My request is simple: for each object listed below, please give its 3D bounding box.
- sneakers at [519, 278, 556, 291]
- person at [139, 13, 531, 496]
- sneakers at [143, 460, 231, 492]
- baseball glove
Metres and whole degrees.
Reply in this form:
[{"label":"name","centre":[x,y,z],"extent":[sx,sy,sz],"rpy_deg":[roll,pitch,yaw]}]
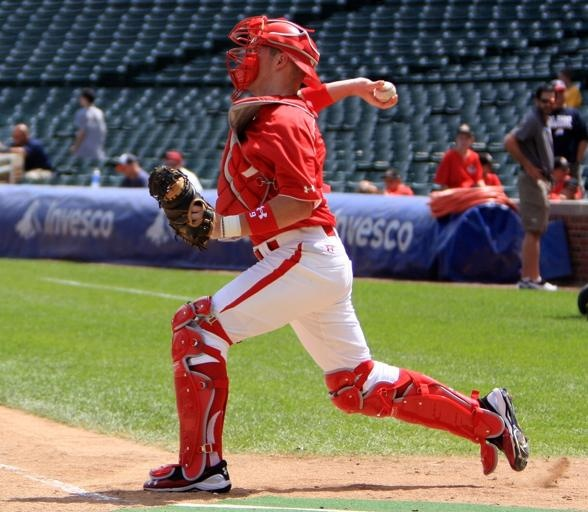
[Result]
[{"label":"sneakers","centre":[1.498,0.179,7.463],"extent":[0.227,0.067,0.074],"rpy_deg":[1,3,8]},{"label":"person","centre":[0.097,-0.007,6.457],"extent":[1.756,2.519,0.514],"rpy_deg":[1,1,-7]},{"label":"sneakers","centre":[-0.539,1.172,6.438],"extent":[0.507,0.161,0.153],"rpy_deg":[3,-8,4]},{"label":"baseball glove","centre":[-0.619,-0.279,6.269],"extent":[0.260,0.158,0.441],"rpy_deg":[-34,-35,3]}]
